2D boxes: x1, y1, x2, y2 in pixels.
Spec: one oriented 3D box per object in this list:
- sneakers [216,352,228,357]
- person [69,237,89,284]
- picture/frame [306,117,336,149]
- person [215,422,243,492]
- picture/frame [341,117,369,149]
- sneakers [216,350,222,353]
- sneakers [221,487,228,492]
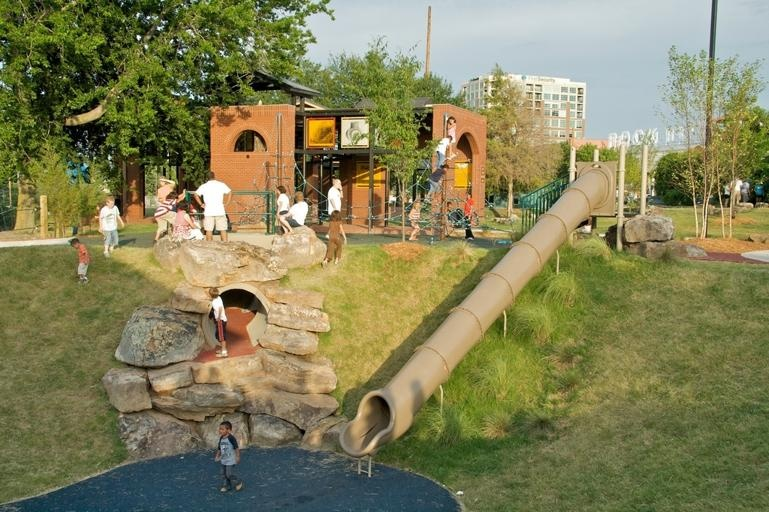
[{"bbox_3d":[-5.775,3.531,24.962,0.293,0.120,0.210,4,7,0],"label":"sneakers"},{"bbox_3d":[-11.369,0.133,26.248,0.595,1.647,1.505,-3,7,-24],"label":"person"},{"bbox_3d":[-3.177,-6.355,35.845,1.458,1.621,0.161,2,5,6],"label":"picture/frame"},{"bbox_3d":[-4.663,6.035,21.064,0.724,2.094,0.403,-1,6,-9],"label":"person"},{"bbox_3d":[-1.398,-6.268,35.358,1.723,1.915,0.181,-2,-4,22],"label":"picture/frame"},{"bbox_3d":[-5.955,3.474,25.275,0.190,0.063,0.144,1,0,-28],"label":"sneakers"},{"bbox_3d":[-4.814,7.036,21.016,0.241,0.115,0.107,3,7,24],"label":"sneakers"}]
